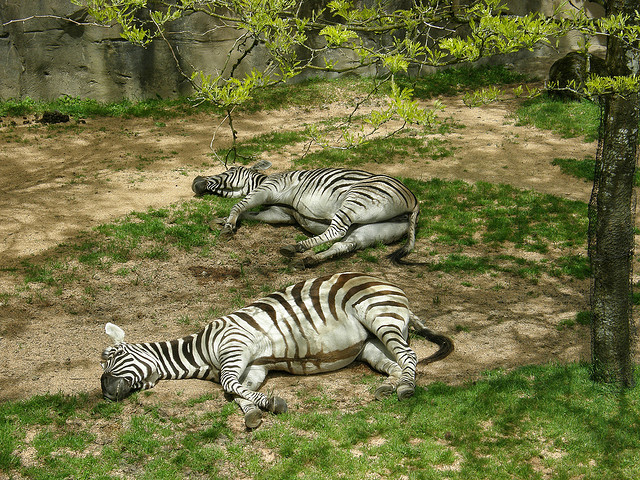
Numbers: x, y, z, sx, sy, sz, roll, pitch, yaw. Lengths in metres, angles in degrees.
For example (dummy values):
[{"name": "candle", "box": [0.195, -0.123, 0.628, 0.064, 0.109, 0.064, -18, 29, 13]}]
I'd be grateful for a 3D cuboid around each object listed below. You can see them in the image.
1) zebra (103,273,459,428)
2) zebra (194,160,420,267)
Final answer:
[{"name": "zebra", "box": [-0.580, 1.592, 13.663, 4.766, 1.091, 1.964, -10, 59, -2]}, {"name": "zebra", "box": [-0.243, -0.358, 16.615, 3.119, 0.770, 1.524, 8, 28, 26]}]
